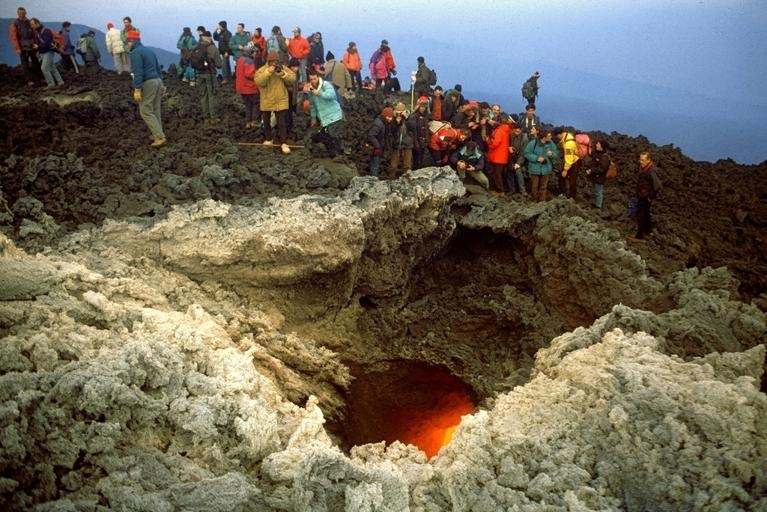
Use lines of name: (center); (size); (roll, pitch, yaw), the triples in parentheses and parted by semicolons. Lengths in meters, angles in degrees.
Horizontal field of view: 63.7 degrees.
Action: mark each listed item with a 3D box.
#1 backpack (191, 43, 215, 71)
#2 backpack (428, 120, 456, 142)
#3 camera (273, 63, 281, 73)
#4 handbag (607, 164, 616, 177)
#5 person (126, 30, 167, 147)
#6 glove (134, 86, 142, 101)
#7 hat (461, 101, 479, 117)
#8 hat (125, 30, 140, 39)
backpack: (-4.283, -4.689, 14.587); (0.481, 0.686, 0.648); (1, 5, 5)
backpack: (1.269, -2.828, 13.810); (0.702, 0.297, 0.391); (21, 28, 26)
camera: (-2.236, -3.932, 12.955); (0.150, 0.156, 0.068); (-3, 26, -21)
handbag: (5.012, -1.906, 13.662); (0.201, 0.200, 0.211); (-12, 70, -1)
person: (-4.897, -3.496, 12.800); (0.667, 2.257, 1.397); (-3, 26, -21)
glove: (-4.968, -3.262, 12.487); (0.137, 0.273, 0.519); (-2, 27, -20)
hat: (1.969, -3.389, 14.135); (0.404, 0.246, 0.726); (10, 25, 5)
hat: (-5.006, -4.417, 12.333); (0.214, 0.173, 0.274); (-2, 27, -19)
